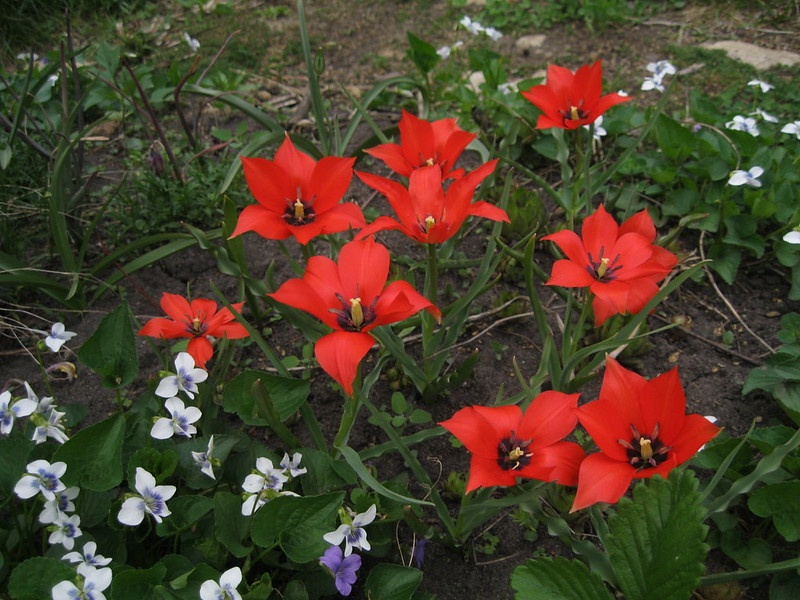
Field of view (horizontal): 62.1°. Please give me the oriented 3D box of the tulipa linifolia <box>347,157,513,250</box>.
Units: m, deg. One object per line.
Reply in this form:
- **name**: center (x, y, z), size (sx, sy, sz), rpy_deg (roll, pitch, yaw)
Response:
- **tulipa linifolia**: center (0.113, -0.365, 2.530), size (0.569, 0.309, 0.578), rpy_deg (-12, 1, 12)

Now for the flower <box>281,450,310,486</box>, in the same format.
- **flower**: center (-0.385, 0.600, 2.421), size (0.093, 0.049, 0.109), rpy_deg (15, 45, 10)

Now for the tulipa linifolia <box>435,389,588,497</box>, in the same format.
- **tulipa linifolia**: center (0.372, 0.527, 2.259), size (0.463, 0.421, 0.308), rpy_deg (-4, 43, -9)

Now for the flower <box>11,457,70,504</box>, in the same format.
- **flower**: center (-1.195, 0.614, 2.225), size (0.146, 0.145, 0.106), rpy_deg (-5, 43, -10)

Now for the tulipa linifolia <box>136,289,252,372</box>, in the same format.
- **tulipa linifolia**: center (-0.845, 0.126, 2.692), size (0.416, 0.174, 0.440), rpy_deg (-11, -1, 36)

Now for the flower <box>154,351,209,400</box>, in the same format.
- **flower**: center (-0.778, 0.279, 2.415), size (0.212, 0.065, 0.210), rpy_deg (2, 12, 17)

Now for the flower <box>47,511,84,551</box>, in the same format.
- **flower**: center (-1.143, 0.792, 2.281), size (0.120, 0.128, 0.037), rpy_deg (8, -1, -26)

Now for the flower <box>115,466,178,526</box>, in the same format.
- **flower**: center (-0.838, 0.667, 2.189), size (0.133, 0.147, 0.156), rpy_deg (16, 44, 12)

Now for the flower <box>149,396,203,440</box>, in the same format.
- **flower**: center (-0.802, 0.430, 2.378), size (0.165, 0.068, 0.222), rpy_deg (-9, 38, -36)

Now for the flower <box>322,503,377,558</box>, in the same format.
- **flower**: center (-0.173, 0.791, 2.277), size (0.172, 0.164, 0.112), rpy_deg (0, 42, -6)

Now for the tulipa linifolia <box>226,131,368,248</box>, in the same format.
- **tulipa linifolia**: center (-0.374, -0.378, 2.436), size (0.400, 0.198, 0.448), rpy_deg (-11, 73, -5)

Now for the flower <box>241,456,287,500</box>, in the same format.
- **flower**: center (-0.460, 0.603, 2.294), size (0.133, 0.126, 0.048), rpy_deg (20, 77, 50)

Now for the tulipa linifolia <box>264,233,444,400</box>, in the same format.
- **tulipa linifolia**: center (-0.141, 0.064, 2.194), size (0.477, 0.244, 0.565), rpy_deg (18, 50, 25)

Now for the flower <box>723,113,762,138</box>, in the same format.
- **flower**: center (1.757, -0.890, 3.387), size (0.157, 0.078, 0.189), rpy_deg (23, 46, 18)

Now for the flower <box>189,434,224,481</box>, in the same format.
- **flower**: center (-0.695, 0.577, 2.419), size (0.125, 0.166, 0.068), rpy_deg (-2, 6, 14)
